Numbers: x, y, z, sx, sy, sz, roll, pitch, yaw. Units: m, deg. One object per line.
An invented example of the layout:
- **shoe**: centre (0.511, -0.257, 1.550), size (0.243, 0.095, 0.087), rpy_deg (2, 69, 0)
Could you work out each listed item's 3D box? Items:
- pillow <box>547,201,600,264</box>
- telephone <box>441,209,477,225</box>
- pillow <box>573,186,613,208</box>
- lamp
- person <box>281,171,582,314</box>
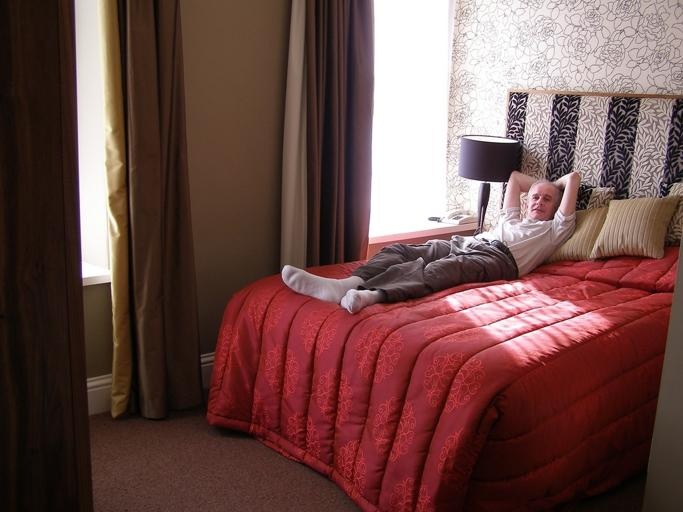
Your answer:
- **pillow**: centre (1.516, -0.134, 3.203), size (0.088, 0.355, 0.351), rpy_deg (18, 0, -5)
- **telephone**: centre (0.990, -0.321, 4.127), size (0.221, 0.085, 0.156), rpy_deg (-7, 11, -41)
- **pillow**: centre (1.699, -0.396, 3.404), size (0.149, 0.172, 0.050), rpy_deg (7, -20, 41)
- **lamp**: centre (1.115, -0.543, 3.893), size (0.390, 0.721, 0.416), rpy_deg (-7, 20, -21)
- **person**: centre (0.700, -0.120, 3.112), size (1.793, 0.838, 0.636), rpy_deg (-3, 2, -21)
